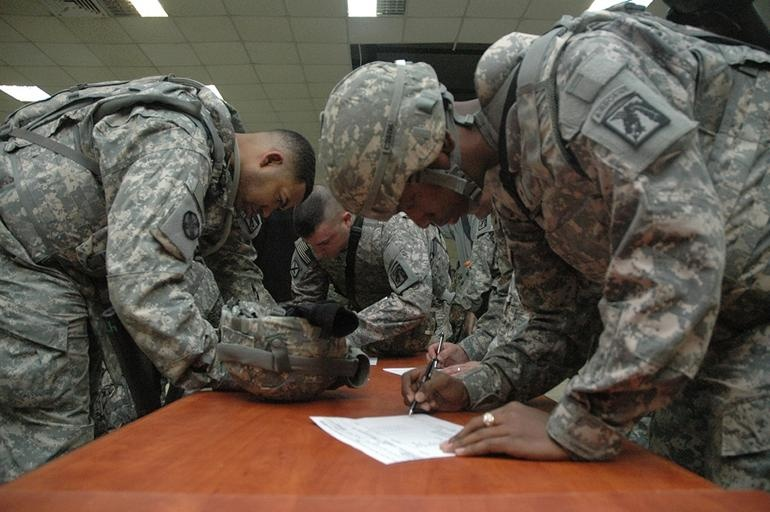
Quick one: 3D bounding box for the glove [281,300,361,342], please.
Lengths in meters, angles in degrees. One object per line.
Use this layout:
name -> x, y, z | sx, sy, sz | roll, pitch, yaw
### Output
glove -> -0.236, 0.211, 1.983 | 0.350, 0.114, 0.323 | 8, -6, -35

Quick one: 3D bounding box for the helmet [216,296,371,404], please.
helmet -> -0.306, 0.284, 1.903 | 0.429, 0.242, 0.316 | 1, -3, -18
